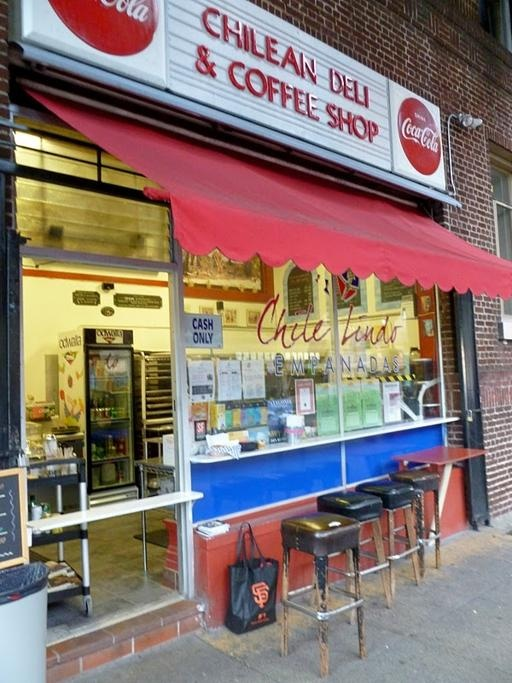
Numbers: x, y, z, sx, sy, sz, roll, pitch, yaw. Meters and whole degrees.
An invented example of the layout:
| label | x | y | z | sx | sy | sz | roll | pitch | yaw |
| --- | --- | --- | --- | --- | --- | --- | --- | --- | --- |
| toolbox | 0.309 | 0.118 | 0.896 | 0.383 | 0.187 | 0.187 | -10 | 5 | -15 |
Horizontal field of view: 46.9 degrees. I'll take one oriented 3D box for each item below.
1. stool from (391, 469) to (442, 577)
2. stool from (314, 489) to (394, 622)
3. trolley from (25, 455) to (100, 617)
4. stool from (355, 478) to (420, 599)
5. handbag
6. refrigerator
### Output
| label | x | y | z | sx | sy | sz | roll | pitch | yaw |
| --- | --- | --- | --- | --- | --- | --- | --- | --- | --- |
| stool | 1.581 | 1.535 | 5.411 | 0.480 | 0.992 | 0.527 | -5 | -4 | 41 |
| stool | 0.748 | 1.541 | 4.702 | 0.545 | 1.041 | 0.605 | -5 | -5 | 43 |
| trolley | -1.579 | 1.437 | 4.352 | 0.670 | 1.077 | 0.610 | -2 | 0 | -30 |
| stool | 1.135 | 1.633 | 5.177 | 0.498 | 0.946 | 0.551 | -5 | -5 | 43 |
| handbag | -0.033 | 1.687 | 4.215 | 0.363 | 0.709 | 0.488 | 1 | -3 | -1 |
| refrigerator | -2.500 | 0.936 | 9.388 | 1.007 | 3.167 | 0.957 | 2 | 0 | -39 |
